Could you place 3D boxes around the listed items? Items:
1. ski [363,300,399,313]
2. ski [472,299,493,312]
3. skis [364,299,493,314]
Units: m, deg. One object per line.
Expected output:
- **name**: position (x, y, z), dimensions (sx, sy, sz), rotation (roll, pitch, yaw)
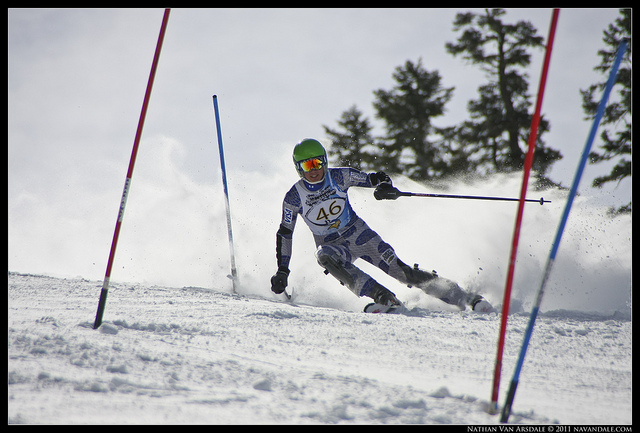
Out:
- **ski**: position (0.766, 1.142, 9.334), dimensions (0.508, 0.162, 0.209), rotation (2, -38, 10)
- **ski**: position (2.106, 1.161, 9.737), dimensions (0.096, 0.110, 0.297), rotation (-4, -18, 32)
- **skis**: position (1.368, 1.177, 9.496), dimensions (1.684, 0.157, 0.280), rotation (0, 15, -15)
